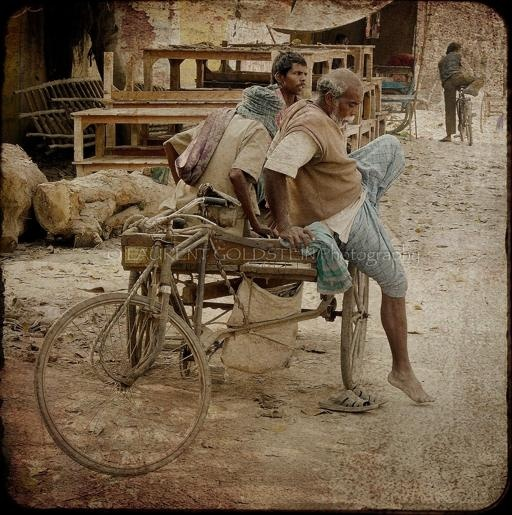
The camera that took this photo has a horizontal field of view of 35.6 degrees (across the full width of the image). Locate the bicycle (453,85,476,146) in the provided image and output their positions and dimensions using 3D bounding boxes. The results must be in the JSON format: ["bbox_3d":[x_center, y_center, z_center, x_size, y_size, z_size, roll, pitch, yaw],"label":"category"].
[{"bbox_3d":[3.742,-2.473,14.231,0.512,1.049,0.434,17,33,41],"label":"bicycle"}]

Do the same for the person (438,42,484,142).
[{"bbox_3d":[3.573,-2.949,14.314,0.725,1.803,1.095,4,5,1],"label":"person"}]

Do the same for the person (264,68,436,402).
[{"bbox_3d":[0.456,-0.166,4.968,1.208,1.923,0.886,3,5,28],"label":"person"}]

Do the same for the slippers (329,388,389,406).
[{"bbox_3d":[0.592,0.867,4.920,0.216,0.062,0.150,-2,0,16],"label":"slippers"}]

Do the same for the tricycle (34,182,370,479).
[{"bbox_3d":[0.479,-0.170,4.969,1.285,1.912,1.450,18,20,33],"label":"tricycle"}]
